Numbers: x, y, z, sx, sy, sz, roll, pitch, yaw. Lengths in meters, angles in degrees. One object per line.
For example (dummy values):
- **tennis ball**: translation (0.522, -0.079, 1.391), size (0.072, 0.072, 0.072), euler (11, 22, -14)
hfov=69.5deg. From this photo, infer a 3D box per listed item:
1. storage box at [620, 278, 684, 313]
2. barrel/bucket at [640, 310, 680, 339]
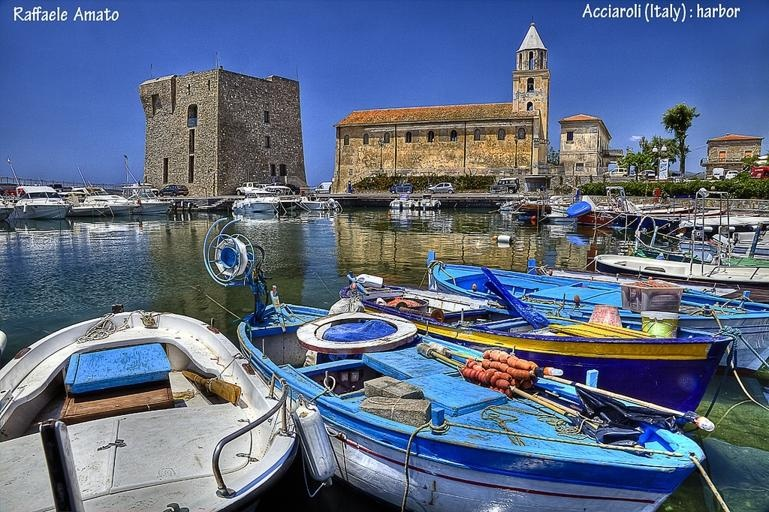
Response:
- **storage box**: translation (4.185, 0.633, 8.491), size (0.780, 0.322, 0.538), euler (1, 13, 27)
- **barrel/bucket**: translation (4.071, 1.037, 8.363), size (0.507, 0.435, 0.466), euler (0, -5, 0)
